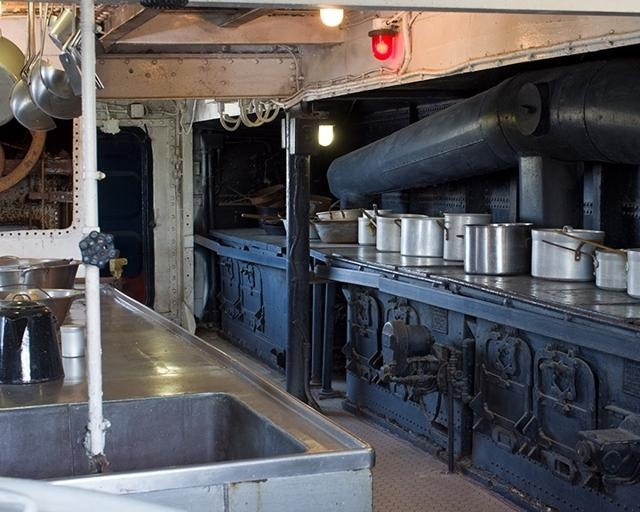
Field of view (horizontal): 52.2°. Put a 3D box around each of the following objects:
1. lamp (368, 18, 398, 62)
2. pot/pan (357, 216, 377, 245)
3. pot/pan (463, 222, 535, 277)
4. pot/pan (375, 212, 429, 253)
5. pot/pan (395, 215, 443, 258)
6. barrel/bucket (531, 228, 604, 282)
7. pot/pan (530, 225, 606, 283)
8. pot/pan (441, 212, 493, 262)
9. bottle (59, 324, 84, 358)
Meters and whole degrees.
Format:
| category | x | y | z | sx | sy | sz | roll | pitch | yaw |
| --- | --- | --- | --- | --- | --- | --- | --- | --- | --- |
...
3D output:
| category | x | y | z | sx | sy | sz | roll | pitch | yaw |
| --- | --- | --- | --- | --- | --- | --- | --- | --- | --- |
| lamp | 0.413 | -1.398 | 4.188 | 0.180 | 0.293 | 0.311 | -5 | 7 | 8 |
| pot/pan | 0.412 | -0.225 | 5.786 | 0.210 | 0.241 | 0.217 | 1 | 6 | -2 |
| pot/pan | 1.093 | -0.032 | 4.041 | 0.417 | 0.319 | 0.399 | 0 | -5 | 35 |
| pot/pan | 0.651 | -0.190 | 5.291 | 0.350 | 0.254 | 0.290 | 1 | 1 | -6 |
| pot/pan | 0.735 | -0.143 | 4.730 | 0.282 | 0.221 | 0.272 | 1 | 1 | 7 |
| barrel/bucket | 1.394 | -0.027 | 3.725 | 0.385 | 0.307 | 0.347 | 4 | 4 | 23 |
| pot/pan | 1.390 | -0.033 | 3.750 | 0.373 | 0.321 | 0.373 | 1 | 5 | -3 |
| pot/pan | 0.982 | -0.129 | 4.416 | 0.313 | 0.320 | 0.308 | 1 | 0 | 2 |
| bottle | -1.080 | 0.367 | 2.867 | 0.122 | 0.141 | 0.124 | 1 | -3 | -31 |
